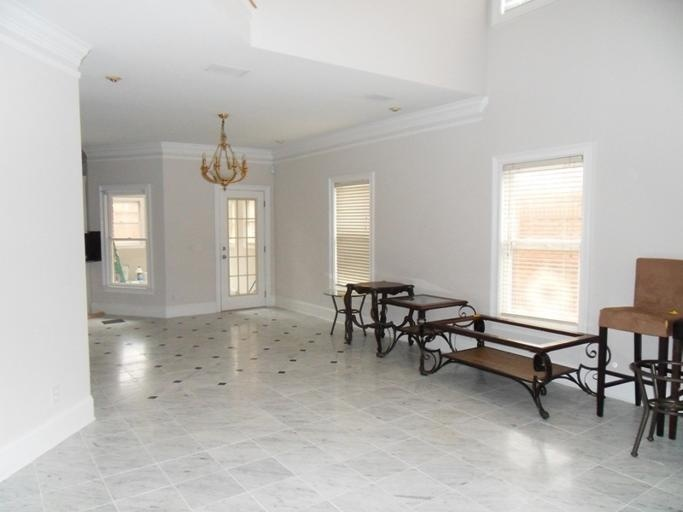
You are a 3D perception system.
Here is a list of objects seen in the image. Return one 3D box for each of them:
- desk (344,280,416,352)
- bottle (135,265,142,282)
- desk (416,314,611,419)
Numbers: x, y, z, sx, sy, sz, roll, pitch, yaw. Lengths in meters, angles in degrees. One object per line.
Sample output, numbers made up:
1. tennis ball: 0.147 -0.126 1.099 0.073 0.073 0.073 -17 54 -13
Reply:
1. desk: 0.505 0.805 6.867 0.727 0.796 0.696 -2 4 -34
2. bottle: -3.561 0.307 8.969 0.133 0.274 0.027 1 9 10
3. desk: 1.690 1.015 5.306 1.102 0.756 1.818 -6 9 -31
